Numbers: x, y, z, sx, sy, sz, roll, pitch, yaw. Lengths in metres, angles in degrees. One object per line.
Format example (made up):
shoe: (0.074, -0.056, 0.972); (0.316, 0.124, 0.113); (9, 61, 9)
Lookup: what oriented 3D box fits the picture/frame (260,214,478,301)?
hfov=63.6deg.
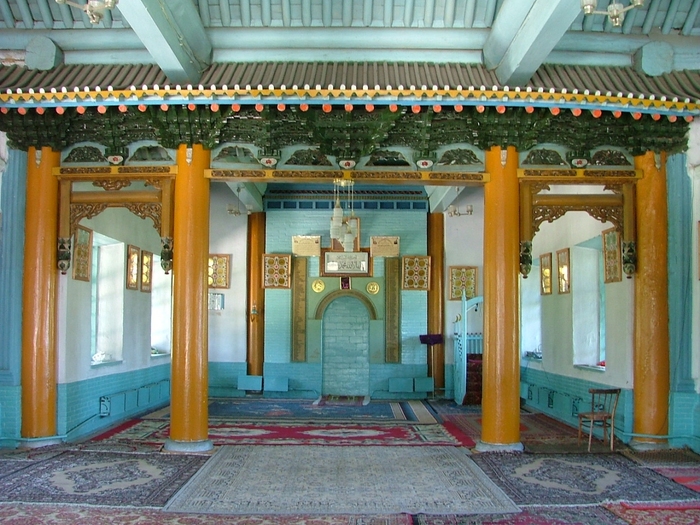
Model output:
picture/frame: (0.134, 0.103, 14.108); (4.941, 2.511, 2.020); (-1, 2, 0)
